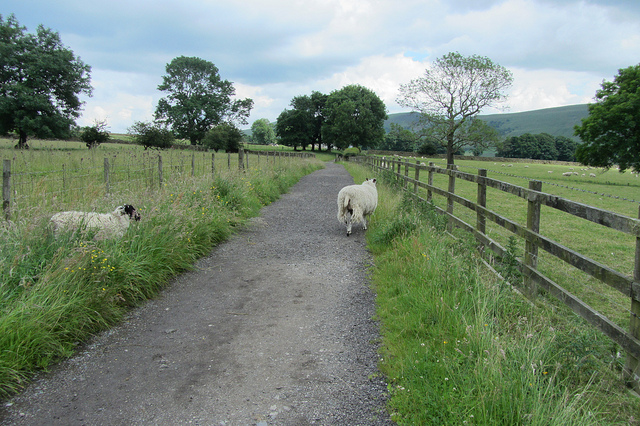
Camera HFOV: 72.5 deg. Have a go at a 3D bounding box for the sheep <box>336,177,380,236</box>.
[{"bbox_3d":[0.984,-0.167,11.545,0.746,1.155,1.726,7,11,25],"label":"sheep"}]
